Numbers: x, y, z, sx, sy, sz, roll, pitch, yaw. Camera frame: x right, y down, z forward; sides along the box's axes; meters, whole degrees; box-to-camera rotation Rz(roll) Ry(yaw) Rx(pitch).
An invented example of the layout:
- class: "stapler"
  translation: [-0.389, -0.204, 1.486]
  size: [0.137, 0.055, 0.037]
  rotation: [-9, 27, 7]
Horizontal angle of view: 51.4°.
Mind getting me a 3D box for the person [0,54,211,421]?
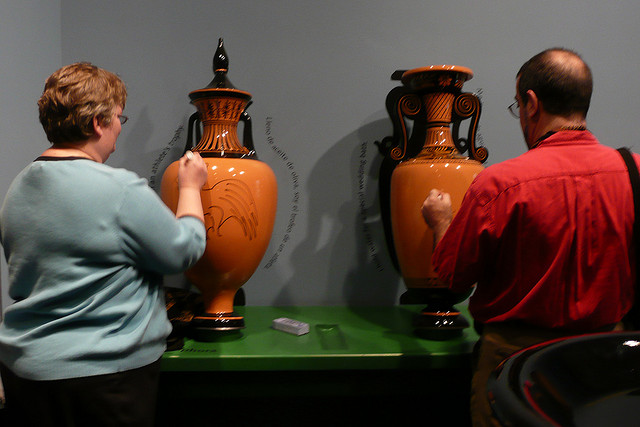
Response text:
- class: "person"
  translation: [-0.636, 0.086, 1.930]
  size: [0.624, 1.006, 0.373]
  rotation: [-3, 14, -13]
